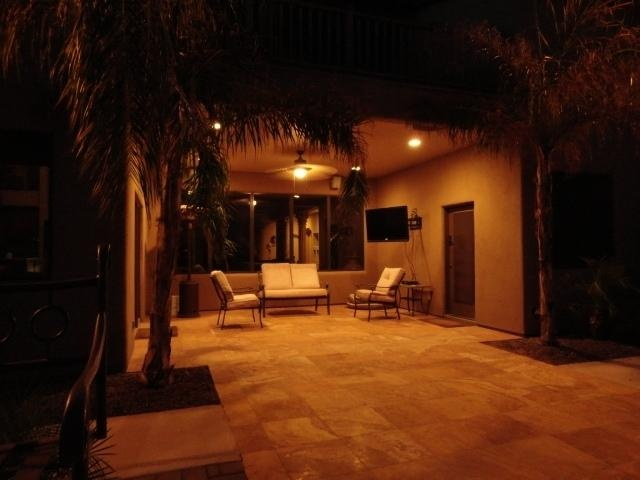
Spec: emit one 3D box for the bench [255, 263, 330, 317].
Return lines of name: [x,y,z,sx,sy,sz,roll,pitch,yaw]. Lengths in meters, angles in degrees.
bench: [-0.563,0.989,10.011,1.332,1.051,0.810,0,-5,-18]

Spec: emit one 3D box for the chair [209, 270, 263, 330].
chair: [-1.536,1.057,8.890,1.085,1.301,0.862,1,0,-18]

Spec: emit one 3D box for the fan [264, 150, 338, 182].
fan: [-0.374,-1.416,9.106,0.762,0.321,0.821,1,-4,-10]

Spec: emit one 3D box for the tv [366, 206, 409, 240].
tv: [1.434,-0.330,10.600,0.959,0.755,0.100,-3,1,31]

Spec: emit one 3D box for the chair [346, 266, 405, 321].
chair: [1.125,1.066,9.790,1.019,1.228,0.851,1,-7,-24]
